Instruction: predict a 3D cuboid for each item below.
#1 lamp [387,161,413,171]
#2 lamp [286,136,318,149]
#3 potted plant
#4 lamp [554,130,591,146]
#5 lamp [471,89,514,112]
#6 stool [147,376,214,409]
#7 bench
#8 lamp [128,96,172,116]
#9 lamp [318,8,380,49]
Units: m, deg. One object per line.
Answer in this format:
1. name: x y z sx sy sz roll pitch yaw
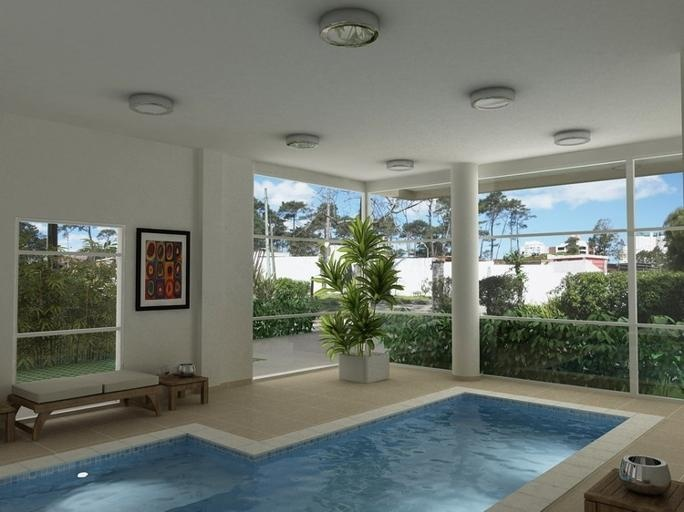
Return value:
1. lamp: 1.015 -1.592 8.203 0.442 0.127 0.288 0 -1 7
2. lamp: -0.559 -1.624 6.732 0.477 0.129 0.359 0 -1 0
3. potted plant: 0.297 0.724 8.819 1.512 2.868 1.736 0 -1 0
4. lamp: 3.209 -1.639 6.523 0.476 0.128 0.397 0 -1 10
5. lamp: 1.634 -1.685 5.056 0.457 0.130 0.312 0 -1 17
6. stool: -2.227 1.813 6.612 0.506 0.302 0.539 -1 0 44
7. bench: -3.136 1.766 5.791 1.546 0.580 0.716 1 -1 -41
8. lamp: -2.100 -1.668 5.187 0.446 0.141 0.303 0 -1 -19
9. lamp: 0.060 -1.781 3.688 0.469 0.159 0.305 0 -1 1
